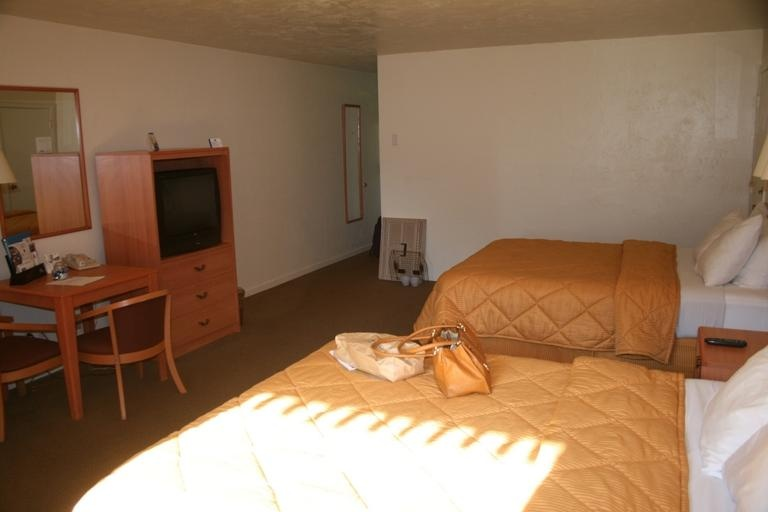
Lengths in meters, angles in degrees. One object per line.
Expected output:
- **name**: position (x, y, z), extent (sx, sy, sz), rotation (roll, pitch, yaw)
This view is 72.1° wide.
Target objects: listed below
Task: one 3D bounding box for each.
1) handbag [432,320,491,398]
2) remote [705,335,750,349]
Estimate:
- **handbag**: position (0.451, 0.612, 3.077), extent (0.192, 0.130, 0.375), rotation (-21, 15, 10)
- **remote**: position (2.287, 0.580, 3.522), extent (0.187, 0.037, 0.103), rotation (-1, 1, 21)
